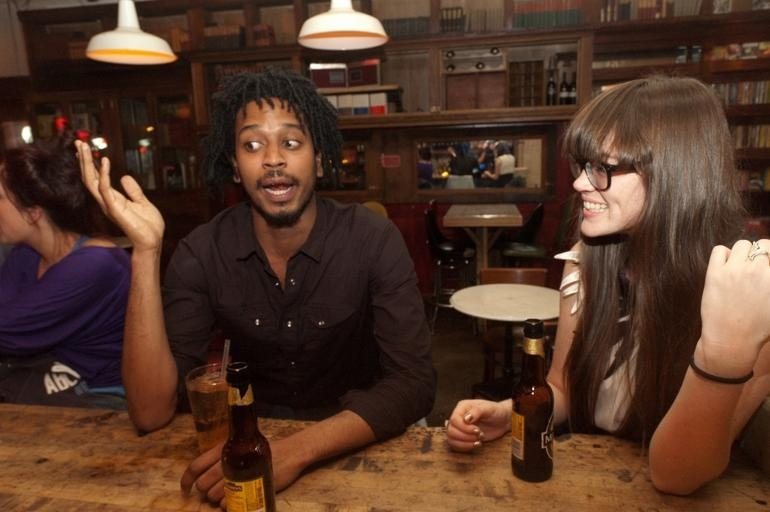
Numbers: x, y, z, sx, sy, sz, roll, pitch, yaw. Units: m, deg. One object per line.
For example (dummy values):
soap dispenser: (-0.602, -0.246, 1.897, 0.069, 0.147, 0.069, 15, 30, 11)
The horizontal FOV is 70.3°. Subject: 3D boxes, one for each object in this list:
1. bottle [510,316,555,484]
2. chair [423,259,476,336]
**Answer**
bottle: (0.417, 0.383, 1.532, 0.118, 0.468, 0.174, 1, 16, 15)
chair: (0.745, 0.409, 6.088, 0.696, 0.859, 0.666, -1, 6, -8)
